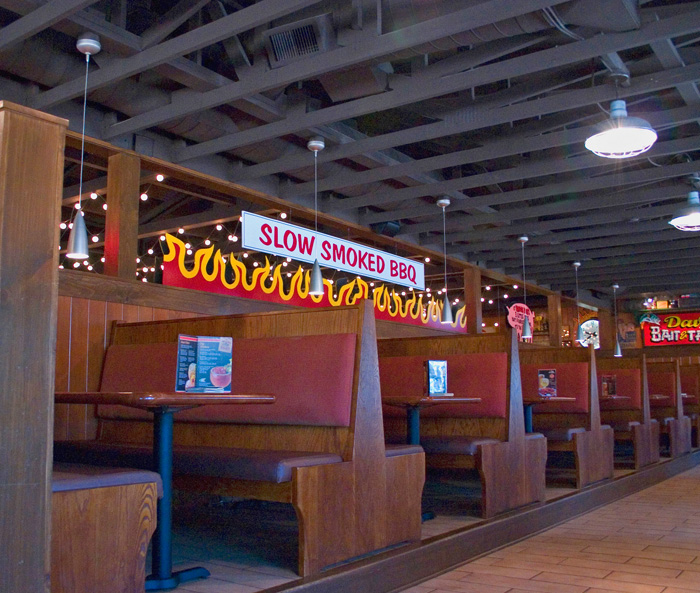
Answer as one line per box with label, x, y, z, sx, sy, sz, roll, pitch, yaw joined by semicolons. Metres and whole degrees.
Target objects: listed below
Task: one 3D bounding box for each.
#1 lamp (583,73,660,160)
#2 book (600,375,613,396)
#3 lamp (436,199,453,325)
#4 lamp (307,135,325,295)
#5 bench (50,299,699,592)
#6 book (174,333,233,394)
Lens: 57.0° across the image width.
lamp;2.185;-1.357;5.137;0.491;0.406;0.473;10;-9;-44
book;2.949;1.021;7.400;0.085;0.279;0.314;6;-3;2
lamp;1.398;-0.500;9.031;0.258;1.834;0.239;2;8;24
lamp;-0.312;-0.804;6.687;0.242;1.635;0.227;-12;20;-39
bench;0.230;1.006;4.288;2.368;1.225;1.283;-4;-12;31
book;-0.655;0.307;2.889;0.362;0.310;0.046;7;-14;-36
